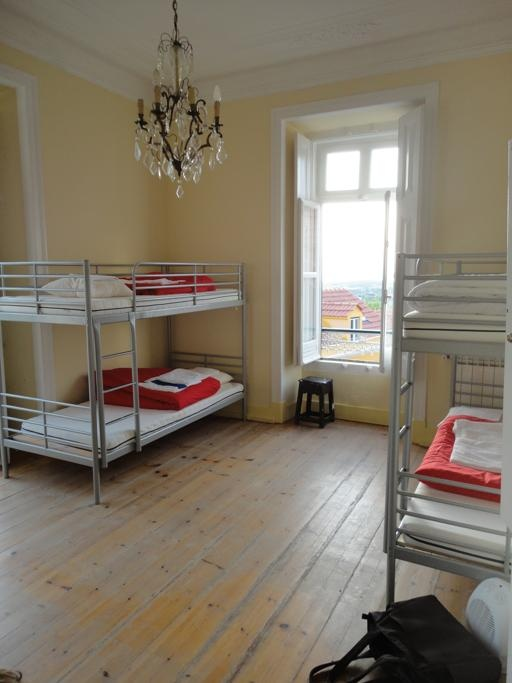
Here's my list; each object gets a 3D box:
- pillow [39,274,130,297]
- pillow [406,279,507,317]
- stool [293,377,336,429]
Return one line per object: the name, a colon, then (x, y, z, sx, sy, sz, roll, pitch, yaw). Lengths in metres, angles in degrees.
pillow: (-0.999, -0.316, 3.056, 0.433, 0.128, 0.456, 4, 9, 23)
pillow: (0.701, -0.151, 1.859, 0.322, 0.133, 0.204, 5, 9, 28)
stool: (0.471, 0.487, 4.617, 0.379, 0.505, 0.375, 3, 9, 25)
